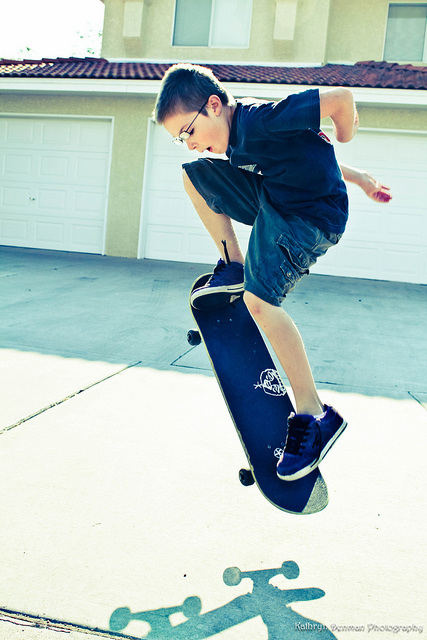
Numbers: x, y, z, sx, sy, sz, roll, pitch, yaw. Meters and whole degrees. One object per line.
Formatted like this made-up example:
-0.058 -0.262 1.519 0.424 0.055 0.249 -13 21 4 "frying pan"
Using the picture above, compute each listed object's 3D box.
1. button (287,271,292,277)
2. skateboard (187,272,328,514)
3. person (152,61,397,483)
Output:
0.263 -0.165 1.950 0.018 0.007 0.053 12 9 0 "button"
0.067 0.245 2.147 0.306 0.159 1.078 -15 58 -27 "skateboard"
0.191 -0.255 2.122 0.573 1.429 0.989 -7 17 -42 "person"
